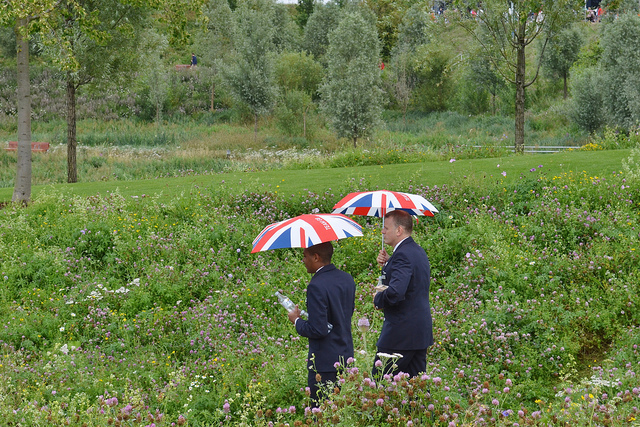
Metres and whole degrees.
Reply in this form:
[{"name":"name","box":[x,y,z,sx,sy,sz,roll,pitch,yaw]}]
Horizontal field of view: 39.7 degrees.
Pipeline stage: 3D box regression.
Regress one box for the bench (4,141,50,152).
[{"name":"bench","box":[-18.186,-4.161,54.943,2.992,0.535,1.287,1,9,17]}]

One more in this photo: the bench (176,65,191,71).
[{"name":"bench","box":[-12.774,-13.715,82.419,1.298,0.596,6.019,-3,9,-9]}]
